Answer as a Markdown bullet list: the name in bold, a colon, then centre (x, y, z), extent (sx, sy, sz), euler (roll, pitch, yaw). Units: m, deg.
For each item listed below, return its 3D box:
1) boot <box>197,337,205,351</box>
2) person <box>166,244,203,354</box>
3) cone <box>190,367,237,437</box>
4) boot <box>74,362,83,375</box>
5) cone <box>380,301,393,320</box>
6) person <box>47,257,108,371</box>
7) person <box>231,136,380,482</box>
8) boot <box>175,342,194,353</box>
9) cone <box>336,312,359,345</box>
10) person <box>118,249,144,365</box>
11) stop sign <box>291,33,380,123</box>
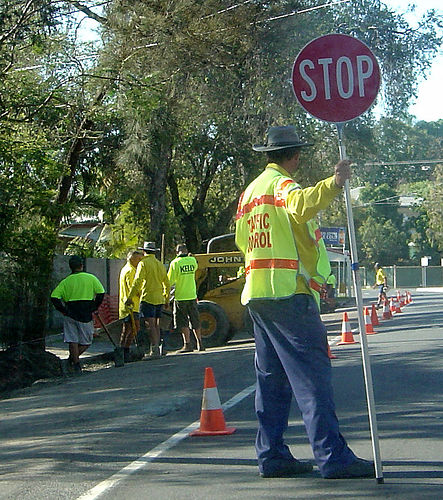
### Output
- **boot**: centre (-0.353, 1.621, 15.499), extent (0.109, 0.227, 0.310), euler (0, -4, 0)
- **person**: centre (-0.655, 0.820, 15.237), extent (0.394, 1.841, 0.804), euler (-3, -6, 41)
- **cone**: centre (-0.064, 1.313, 7.695), extent (0.236, 0.504, 0.506), euler (-1, -1, 8)
- **boot**: centre (-2.108, 1.709, 12.968), extent (0.156, 0.222, 0.139), euler (1, -9, -25)
- **cone**: centre (4.348, 1.588, 23.150), extent (0.342, 0.477, 0.346), euler (-2, -4, -17)
- **person**: centre (-2.089, 0.912, 12.764), extent (0.449, 1.627, 0.918), euler (-3, -6, 39)
- **person**: centre (0.541, 0.369, 6.054), extent (0.557, 2.336, 1.054), euler (4, -6, -38)
- **boot**: centre (-0.629, 1.660, 15.331), extent (0.242, 0.174, 0.374), euler (-1, -5, 14)
- **cone**: centre (2.211, 1.403, 15.907), extent (0.490, 0.645, 0.492), euler (-4, -10, -2)
- **person**: centre (-1.435, 0.892, 14.231), extent (0.381, 1.798, 0.780), euler (1, -4, -6)
- **stop sign**: centre (0.823, -1.194, 6.349), extent (0.561, 0.630, 0.104), euler (0, -4, 8)
